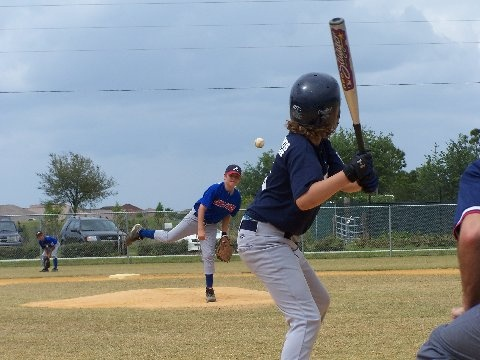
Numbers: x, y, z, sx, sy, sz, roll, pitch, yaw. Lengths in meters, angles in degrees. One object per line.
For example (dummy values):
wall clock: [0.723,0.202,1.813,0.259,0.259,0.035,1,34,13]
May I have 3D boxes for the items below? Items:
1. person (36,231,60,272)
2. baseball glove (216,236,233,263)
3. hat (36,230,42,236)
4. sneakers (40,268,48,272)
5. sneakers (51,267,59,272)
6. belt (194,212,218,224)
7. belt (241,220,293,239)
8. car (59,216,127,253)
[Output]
person: [-5.320,1.971,22.862,0.586,1.132,2.233,1,-5,-13]
baseball glove: [-0.298,1.223,14.542,0.273,0.454,0.659,0,-5,-2]
hat: [-5.678,1.521,23.357,0.106,0.141,0.132,21,-39,25]
sneakers: [-5.215,2.410,21.911,0.248,0.104,0.086,4,-1,21]
sneakers: [-4.908,2.405,21.918,0.127,0.083,0.080,-10,-5,44]
belt: [-0.576,0.741,15.416,0.231,0.140,0.324,12,-15,-3]
belt: [0.282,0.619,11.214,0.451,0.171,0.330,14,1,-9]
car: [-4.390,1.592,24.307,1.054,0.851,1.558,5,-10,-40]
